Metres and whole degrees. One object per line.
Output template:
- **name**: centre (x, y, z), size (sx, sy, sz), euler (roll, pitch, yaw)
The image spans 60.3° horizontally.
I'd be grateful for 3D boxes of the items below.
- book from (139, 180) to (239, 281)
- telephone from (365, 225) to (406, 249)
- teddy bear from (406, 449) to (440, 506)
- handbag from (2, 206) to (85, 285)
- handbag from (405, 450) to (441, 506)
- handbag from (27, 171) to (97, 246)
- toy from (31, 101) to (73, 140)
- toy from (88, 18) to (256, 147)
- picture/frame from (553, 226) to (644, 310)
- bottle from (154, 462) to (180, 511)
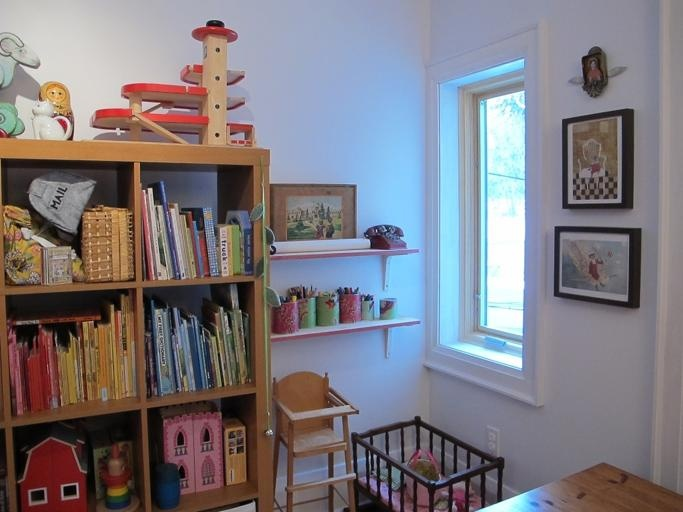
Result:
- **book**: centre (-0.625, -0.048, 2.525), size (0.449, 0.495, 0.342), euler (-1, 0, -29)
- **telephone**: centre (0.225, -0.092, 3.035), size (0.212, 0.130, 0.143), euler (-4, 5, 2)
- **teddy bear**: centre (0.389, 1.057, 2.796), size (0.150, 0.233, 0.228), euler (0, 4, -3)
- **handbag**: centre (-1.123, -0.019, 2.214), size (0.277, 0.301, 0.097), euler (1, -19, -46)
- **handbag**: centre (0.388, 1.060, 2.802), size (0.144, 0.244, 0.236), euler (0, 4, -4)
- **handbag**: centre (-1.054, -0.202, 2.256), size (0.236, 0.263, 0.075), euler (25, -14, -16)
- **toy**: centre (-1.094, -0.509, 2.221), size (0.135, 0.168, 0.163), euler (-6, 5, -24)
- **toy**: centre (-0.690, -0.719, 2.512), size (0.648, 0.541, 0.473), euler (-1, 9, -39)
- **picture/frame**: centre (1.115, 0.048, 2.510), size (0.034, 0.336, 0.325), euler (-1, 5, -31)
- **bottle**: centre (-0.705, 0.934, 2.374), size (0.103, 0.167, 0.073), euler (-6, 5, -21)
